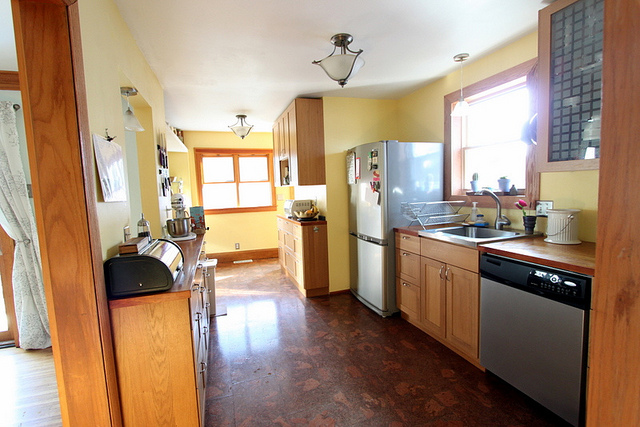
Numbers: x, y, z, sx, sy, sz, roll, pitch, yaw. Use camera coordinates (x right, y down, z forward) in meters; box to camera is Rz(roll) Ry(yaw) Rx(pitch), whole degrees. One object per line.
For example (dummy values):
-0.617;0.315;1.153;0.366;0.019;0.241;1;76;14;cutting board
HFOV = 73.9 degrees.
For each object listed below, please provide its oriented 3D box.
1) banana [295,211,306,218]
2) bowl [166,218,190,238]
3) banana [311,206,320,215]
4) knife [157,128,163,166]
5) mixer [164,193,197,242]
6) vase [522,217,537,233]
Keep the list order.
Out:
-0.265;0.012;5.716;0.061;0.074;0.261;-4;6;-20;banana
-1.453;0.154;4.402;0.161;0.149;0.217;1;4;13;bowl
-0.064;-0.042;5.720;0.116;0.047;0.131;20;3;5;banana
-1.644;-0.664;4.396;0.022;0.308;0.182;-4;6;-14;knife
-1.499;0.028;4.618;0.303;0.464;0.755;-4;6;-16;mixer
1.874;0.101;3.903;0.116;0.155;0.134;-2;5;-26;vase
